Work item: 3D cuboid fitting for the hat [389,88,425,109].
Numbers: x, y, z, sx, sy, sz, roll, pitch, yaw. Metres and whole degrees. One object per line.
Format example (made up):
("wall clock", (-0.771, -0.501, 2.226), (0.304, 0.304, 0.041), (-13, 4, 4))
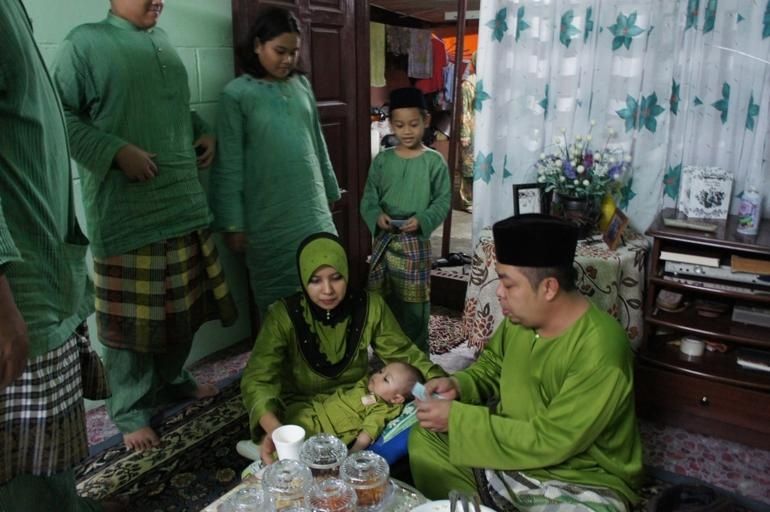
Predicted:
("hat", (0.108, -0.964, 3.018), (0.154, 0.084, 0.151), (-15, 25, -29))

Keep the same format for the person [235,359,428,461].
("person", (-0.227, 0.691, 2.280), (0.845, 0.237, 0.558), (-12, 21, -20))

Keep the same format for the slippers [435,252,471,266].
("slippers", (0.578, 0.033, 4.362), (0.231, 0.108, 0.142), (5, 8, 0))

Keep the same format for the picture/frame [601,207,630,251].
("picture/frame", (1.357, -0.157, 3.000), (0.121, 0.213, 0.190), (3, 29, 1))

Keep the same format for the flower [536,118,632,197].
("flower", (1.219, -0.570, 3.132), (0.539, 0.418, 0.469), (8, 19, 25))

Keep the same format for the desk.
("desk", (1.051, 0.162, 3.131), (0.807, 0.609, 0.811), (0, 5, -2))

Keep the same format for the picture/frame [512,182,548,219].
("picture/frame", (0.921, -0.351, 3.209), (0.018, 0.208, 0.210), (5, -2, -41))

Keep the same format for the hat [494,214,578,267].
("hat", (0.546, -0.083, 1.844), (0.210, 0.116, 0.224), (-11, 17, -35))
